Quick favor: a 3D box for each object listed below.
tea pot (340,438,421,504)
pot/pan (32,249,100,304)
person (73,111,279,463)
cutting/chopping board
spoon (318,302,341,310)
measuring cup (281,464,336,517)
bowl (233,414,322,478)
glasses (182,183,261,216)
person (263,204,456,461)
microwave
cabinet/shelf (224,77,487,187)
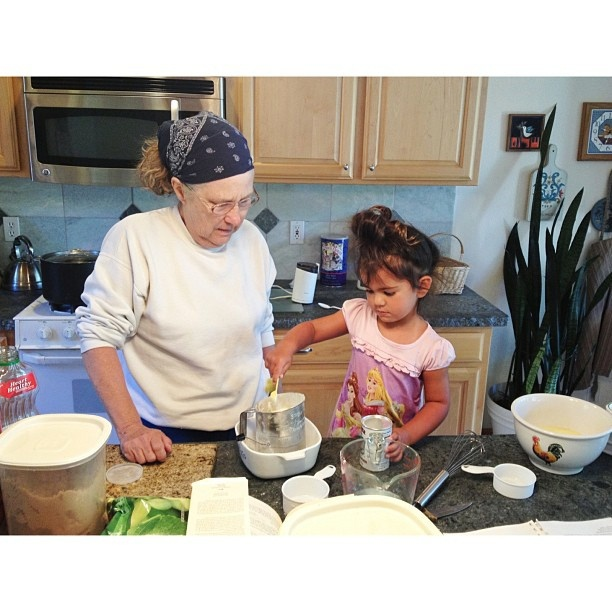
[{"bbox_3d":[0.127,0.300,0.946,0.137,0.104,0.113,3,20,12],"label":"tea pot"},{"bbox_3d":[-0.993,-0.116,2.278,0.311,0.271,0.245,-3,22,-19],"label":"pot/pan"},{"bbox_3d":[-0.302,0.012,1.338,0.402,0.874,0.384,-3,15,-13],"label":"person"},{"bbox_3d":[-0.279,0.314,1.030,0.210,0.052,0.174,2,14,-18],"label":"cutting/chopping board"},{"bbox_3d":[0.097,0.005,2.368,0.146,0.024,0.033,5,9,-33],"label":"spoon"},{"bbox_3d":[0.015,0.323,0.945,0.108,0.038,0.061,-20,20,1],"label":"measuring cup"},{"bbox_3d":[-0.062,0.291,1.090,0.142,0.094,0.131,3,17,-1],"label":"bowl"},{"bbox_3d":[-0.185,-0.227,1.215,0.092,0.028,0.093,-26,64,-39],"label":"glasses"},{"bbox_3d":[0.204,0.085,1.421,0.416,0.732,0.396,19,24,28],"label":"person"},{"bbox_3d":[-0.843,-0.674,2.199,0.797,0.454,0.343,-1,22,-14],"label":"microwave"},{"bbox_3d":[0.214,-0.753,2.294,0.996,0.471,0.394,3,23,-4],"label":"cabinet/shelf"}]
